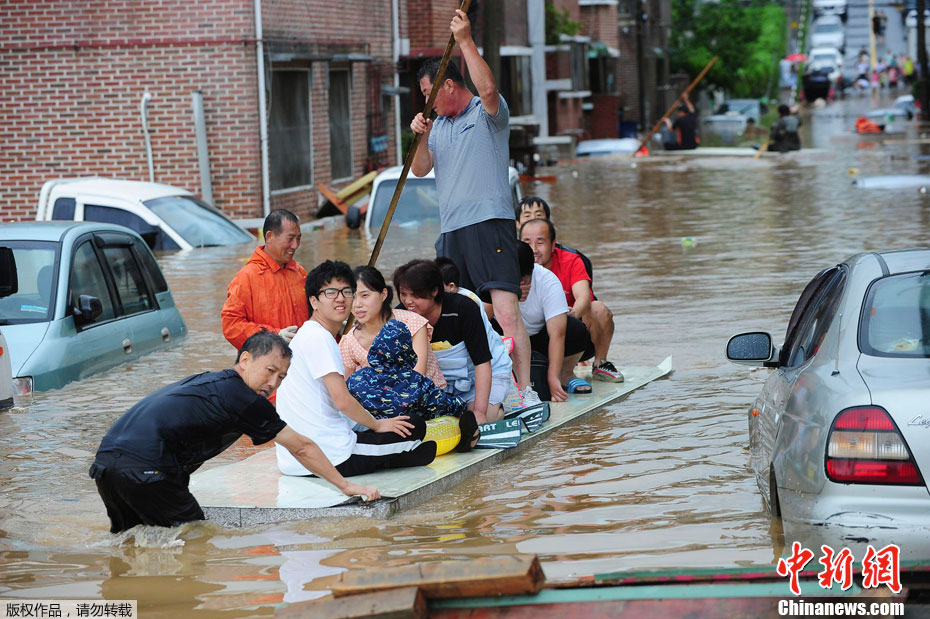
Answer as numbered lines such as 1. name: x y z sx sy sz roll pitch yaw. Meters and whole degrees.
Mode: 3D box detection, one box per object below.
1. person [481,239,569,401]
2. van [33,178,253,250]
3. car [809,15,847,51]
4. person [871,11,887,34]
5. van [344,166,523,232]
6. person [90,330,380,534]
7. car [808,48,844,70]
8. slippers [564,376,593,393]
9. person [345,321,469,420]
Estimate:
1. person: 0.507 0.125 11.313 1.058 1.407 0.858 -9 11 -2
2. van: -4.874 -1.244 18.820 2.261 1.215 1.486 -3 22 -14
3. car: 20.410 -15.381 70.494 1.846 1.786 3.242 1 11 15
4. person: 23.738 -16.039 71.355 1.014 1.171 0.498 -10 13 -35
5. van: -0.937 -1.617 19.342 1.243 1.080 2.009 0 4 16
6. person: -1.672 0.818 8.178 1.571 1.304 0.355 -3 11 -6
7. car: 19.826 -13.603 68.774 1.887 1.186 1.281 -1 11 5
8. slippers: 1.038 0.697 11.618 0.300 0.133 0.109 0 12 41
9. person: -0.474 0.507 9.517 0.970 0.776 0.613 3 9 18
